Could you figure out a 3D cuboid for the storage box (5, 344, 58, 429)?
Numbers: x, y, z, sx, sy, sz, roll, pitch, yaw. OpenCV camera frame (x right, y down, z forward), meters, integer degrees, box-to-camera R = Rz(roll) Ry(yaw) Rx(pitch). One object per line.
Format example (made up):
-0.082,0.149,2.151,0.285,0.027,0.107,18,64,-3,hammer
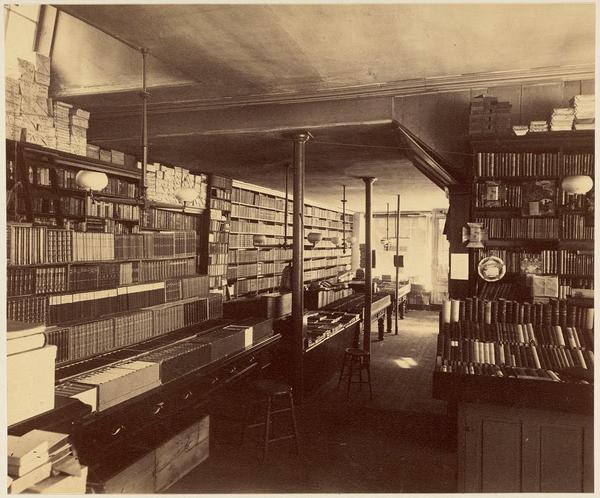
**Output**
-1.770,0.890,3.691,0.100,0.475,0.367,3,4,30,storage box

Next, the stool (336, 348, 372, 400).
0.769,1.691,7.815,0.511,0.733,0.533,-5,16,-14,stool

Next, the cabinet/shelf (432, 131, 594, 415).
2.103,0.123,5.264,1.454,2.536,1.701,2,4,17,cabinet/shelf

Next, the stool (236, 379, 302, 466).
-0.272,1.714,5.884,0.685,1.165,0.701,4,-3,-11,stool
